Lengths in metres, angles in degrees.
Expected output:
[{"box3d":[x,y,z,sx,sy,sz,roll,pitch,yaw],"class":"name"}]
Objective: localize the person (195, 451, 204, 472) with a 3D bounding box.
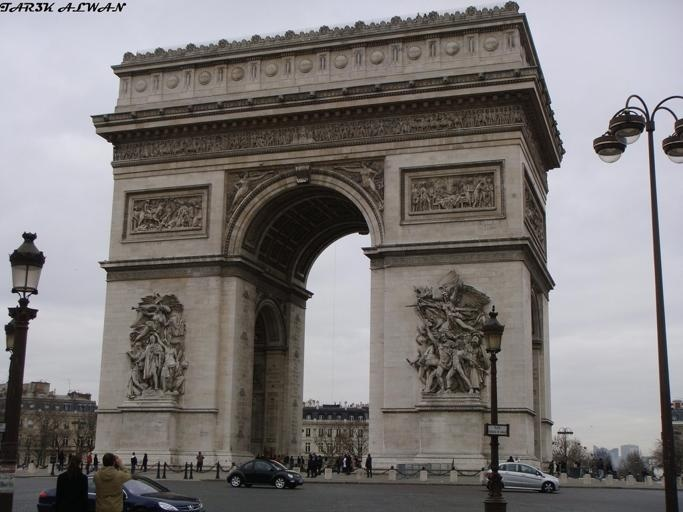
[{"box3d":[-7.696,11.088,51.983,0.407,1.173,0.796,2,-17,-8],"class":"person"}]
